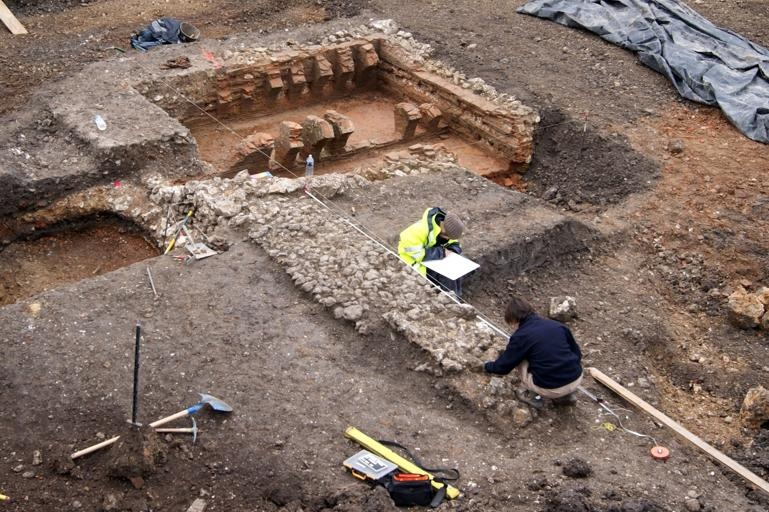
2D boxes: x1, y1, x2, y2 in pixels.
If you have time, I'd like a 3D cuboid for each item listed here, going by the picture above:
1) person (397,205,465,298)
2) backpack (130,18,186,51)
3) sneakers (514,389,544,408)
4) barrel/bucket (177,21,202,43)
[{"bbox_3d":[0.728,-0.031,10.820,0.910,1.294,0.802,-5,29,-13],"label":"person"},{"bbox_3d":[-4.453,-4.318,14.958,0.965,0.394,0.763,-9,28,-18],"label":"backpack"},{"bbox_3d":[1.782,1.761,9.347,0.262,0.176,0.094,30,42,6],"label":"sneakers"},{"bbox_3d":[-3.894,-4.433,15.193,0.452,0.249,0.423,20,51,-26],"label":"barrel/bucket"}]
